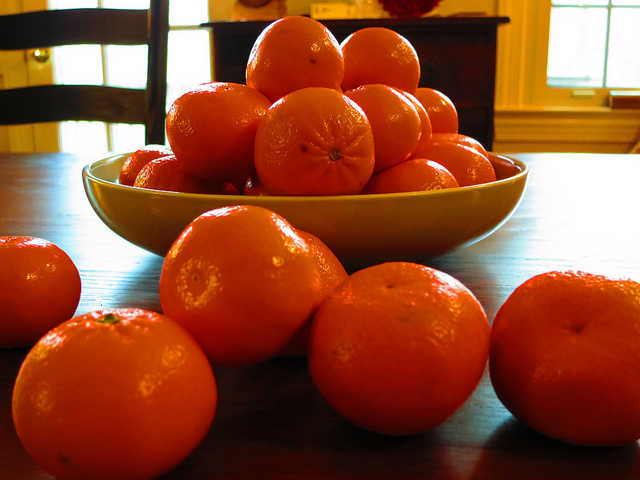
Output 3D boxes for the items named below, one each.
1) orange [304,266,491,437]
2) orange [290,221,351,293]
[{"bbox_3d":[0.049,0.065,0.386,0.096,0.082,0.108,-7,60,-1],"label":"orange"},{"bbox_3d":[-0.006,0.021,0.481,0.051,0.042,0.070,-9,18,-4],"label":"orange"}]
